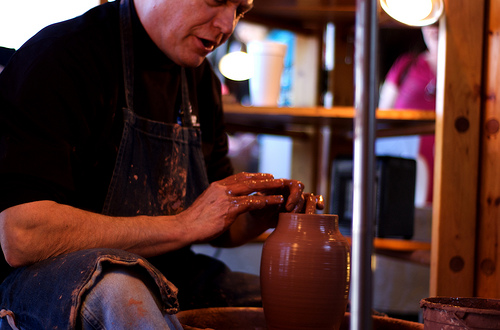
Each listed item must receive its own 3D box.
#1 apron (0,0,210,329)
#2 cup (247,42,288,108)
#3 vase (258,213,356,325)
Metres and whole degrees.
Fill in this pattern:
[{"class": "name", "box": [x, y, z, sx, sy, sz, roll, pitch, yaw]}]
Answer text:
[{"class": "apron", "box": [-0.508, 0.007, 1.830, 0.453, 0.889, 0.773, -16, -35, 36]}, {"class": "cup", "box": [0.099, -0.492, 3.090, 0.298, 0.489, 0.326, 3, 2, 0]}, {"class": "vase", "box": [0.172, 0.362, 1.831, 0.302, 0.451, 0.340, 4, -13, -7]}]
